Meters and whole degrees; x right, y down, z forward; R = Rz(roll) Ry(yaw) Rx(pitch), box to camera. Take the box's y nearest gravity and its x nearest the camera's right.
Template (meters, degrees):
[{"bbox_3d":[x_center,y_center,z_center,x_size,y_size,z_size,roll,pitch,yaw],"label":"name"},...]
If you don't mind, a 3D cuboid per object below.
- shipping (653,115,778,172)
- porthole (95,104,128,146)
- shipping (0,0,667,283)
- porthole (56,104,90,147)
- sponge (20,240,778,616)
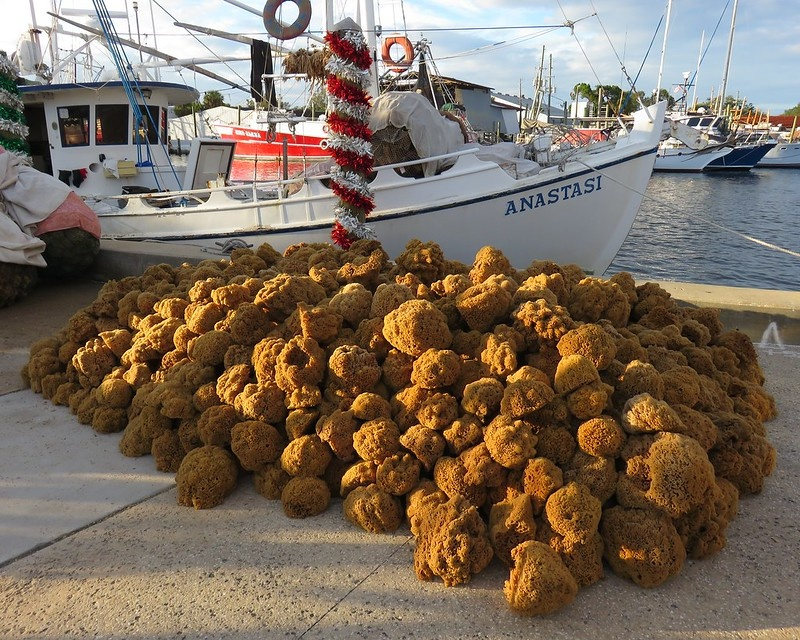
[{"bbox_3d":[26.403,-14.908,48.227,7.741,4.640,6.012,-12,23,-30],"label":"shipping"},{"bbox_3d":[-5.301,-3.542,10.266,0.675,0.870,0.054,-4,-10,-14],"label":"porthole"},{"bbox_3d":[-0.995,-3.050,9.126,9.571,4.475,4.052,9,21,23],"label":"shipping"},{"bbox_3d":[-5.844,-3.458,10.092,0.084,0.946,0.686,31,36,26],"label":"porthole"},{"bbox_3d":[0.052,0.266,3.252,4.088,1.052,2.006,9,22,21],"label":"sponge"}]
